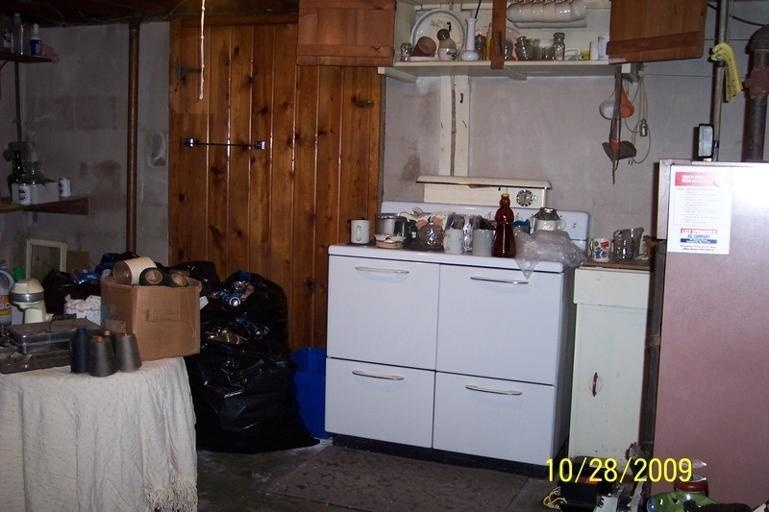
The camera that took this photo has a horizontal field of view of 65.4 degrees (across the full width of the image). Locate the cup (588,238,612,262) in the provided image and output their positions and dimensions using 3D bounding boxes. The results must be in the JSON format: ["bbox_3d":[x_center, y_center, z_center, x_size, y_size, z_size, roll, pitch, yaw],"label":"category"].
[{"bbox_3d":[1.199,-0.027,3.361,0.130,0.132,0.106,1,3,20],"label":"cup"}]

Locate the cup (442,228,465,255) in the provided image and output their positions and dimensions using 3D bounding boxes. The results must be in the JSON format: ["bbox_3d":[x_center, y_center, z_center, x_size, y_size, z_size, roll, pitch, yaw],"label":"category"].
[{"bbox_3d":[0.378,-0.082,3.281,0.090,0.128,0.147,6,12,29],"label":"cup"}]

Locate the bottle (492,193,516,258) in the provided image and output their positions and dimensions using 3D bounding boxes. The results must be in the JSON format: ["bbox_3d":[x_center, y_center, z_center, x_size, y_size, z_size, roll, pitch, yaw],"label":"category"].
[{"bbox_3d":[0.664,-0.177,3.289,0.126,0.313,0.287,4,15,11],"label":"bottle"}]

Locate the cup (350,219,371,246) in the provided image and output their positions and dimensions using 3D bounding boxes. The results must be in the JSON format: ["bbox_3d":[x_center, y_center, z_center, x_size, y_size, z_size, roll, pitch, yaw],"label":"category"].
[{"bbox_3d":[-0.142,-0.143,3.478,0.101,0.140,0.140,2,8,13],"label":"cup"}]

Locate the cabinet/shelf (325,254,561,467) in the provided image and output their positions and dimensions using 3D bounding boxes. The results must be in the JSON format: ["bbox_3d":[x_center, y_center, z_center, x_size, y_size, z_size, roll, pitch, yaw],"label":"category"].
[{"bbox_3d":[0.393,0.555,3.599,1.305,1.113,0.684,3,1,19],"label":"cabinet/shelf"}]

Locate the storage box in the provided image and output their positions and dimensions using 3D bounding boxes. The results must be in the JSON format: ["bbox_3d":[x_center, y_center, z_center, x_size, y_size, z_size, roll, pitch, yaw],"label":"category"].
[{"bbox_3d":[-1.072,0.280,2.864,0.394,0.342,0.440,-2,10,-42],"label":"storage box"}]

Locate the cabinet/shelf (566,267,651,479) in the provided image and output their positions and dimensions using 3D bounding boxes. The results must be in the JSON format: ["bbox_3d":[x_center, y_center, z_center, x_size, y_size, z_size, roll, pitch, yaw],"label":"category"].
[{"bbox_3d":[1.212,0.588,3.277,0.391,1.043,0.161,4,14,10],"label":"cabinet/shelf"}]

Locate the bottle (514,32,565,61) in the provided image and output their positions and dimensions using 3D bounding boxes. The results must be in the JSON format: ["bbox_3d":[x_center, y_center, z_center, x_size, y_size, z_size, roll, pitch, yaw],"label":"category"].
[{"bbox_3d":[0.892,-1.180,3.464,0.248,0.156,0.197,5,13,17],"label":"bottle"}]

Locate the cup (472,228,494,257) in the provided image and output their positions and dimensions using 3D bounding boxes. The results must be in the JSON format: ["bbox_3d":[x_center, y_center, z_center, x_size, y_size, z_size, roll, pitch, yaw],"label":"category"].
[{"bbox_3d":[0.530,-0.076,3.238,0.112,0.138,0.083,3,14,7],"label":"cup"}]

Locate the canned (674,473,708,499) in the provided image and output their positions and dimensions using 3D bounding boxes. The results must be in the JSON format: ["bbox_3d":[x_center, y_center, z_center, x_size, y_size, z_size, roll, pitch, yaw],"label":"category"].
[{"bbox_3d":[1.311,0.973,2.550,0.103,0.055,0.104,0,5,-9],"label":"canned"}]

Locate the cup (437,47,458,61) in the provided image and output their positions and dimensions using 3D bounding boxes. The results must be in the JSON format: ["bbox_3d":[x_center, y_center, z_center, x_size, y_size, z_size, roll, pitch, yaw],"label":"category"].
[{"bbox_3d":[0.364,-1.201,3.575,0.082,0.063,0.088,2,14,0],"label":"cup"}]
